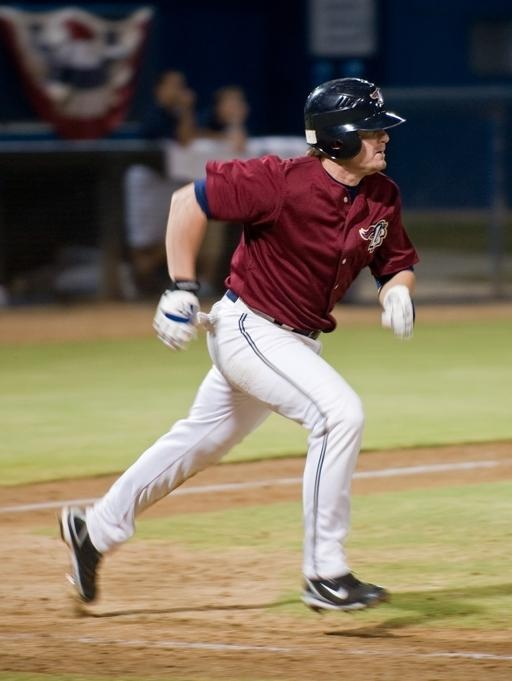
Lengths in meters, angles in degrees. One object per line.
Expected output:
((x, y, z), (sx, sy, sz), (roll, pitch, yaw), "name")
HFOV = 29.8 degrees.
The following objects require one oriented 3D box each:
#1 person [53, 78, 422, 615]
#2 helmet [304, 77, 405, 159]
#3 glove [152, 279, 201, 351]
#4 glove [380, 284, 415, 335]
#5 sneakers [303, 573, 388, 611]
((-0.016, -0.014, 2.612), (1.047, 1.427, 0.542), (-3, 4, -3), "person")
((0.280, -0.635, 2.699), (0.305, 0.193, 0.197), (8, 37, 24), "helmet")
((-0.198, -0.067, 2.544), (0.148, 0.170, 0.064), (16, -11, 13), "glove")
((0.414, -0.086, 2.745), (0.070, 0.137, 0.096), (-21, -24, 15), "glove")
((0.216, 0.632, 2.427), (0.266, 0.103, 0.083), (-1, -5, 0), "sneakers")
